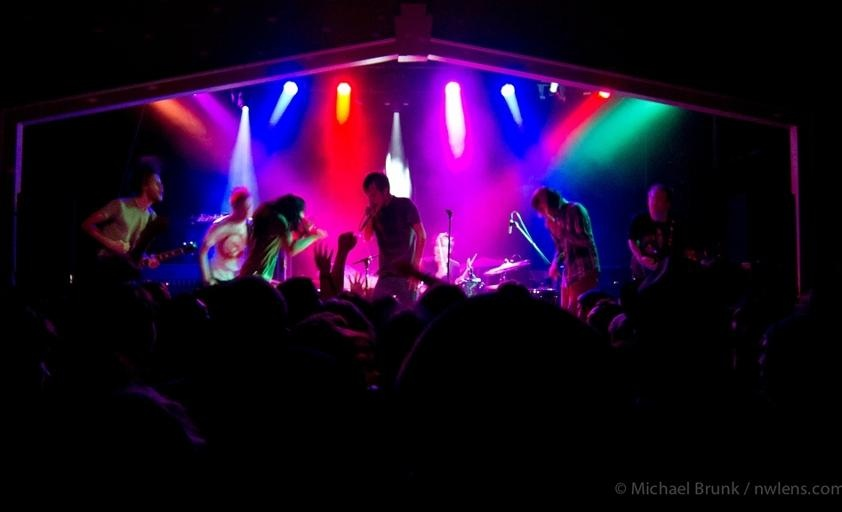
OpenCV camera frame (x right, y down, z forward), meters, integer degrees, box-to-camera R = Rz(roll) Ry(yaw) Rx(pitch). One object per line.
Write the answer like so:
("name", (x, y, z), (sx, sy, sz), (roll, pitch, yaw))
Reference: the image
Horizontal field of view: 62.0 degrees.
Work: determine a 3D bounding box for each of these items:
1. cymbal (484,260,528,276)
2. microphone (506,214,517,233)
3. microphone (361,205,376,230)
("cymbal", (1.058, 0.146, 8.637), (0.289, 0.073, 0.287), (-12, 9, -14))
("microphone", (1.303, -0.478, 10.072), (0.069, 0.295, 0.184), (6, -14, -19))
("microphone", (-0.462, -0.360, 6.292), (0.096, 0.122, 0.313), (33, -35, 13))
